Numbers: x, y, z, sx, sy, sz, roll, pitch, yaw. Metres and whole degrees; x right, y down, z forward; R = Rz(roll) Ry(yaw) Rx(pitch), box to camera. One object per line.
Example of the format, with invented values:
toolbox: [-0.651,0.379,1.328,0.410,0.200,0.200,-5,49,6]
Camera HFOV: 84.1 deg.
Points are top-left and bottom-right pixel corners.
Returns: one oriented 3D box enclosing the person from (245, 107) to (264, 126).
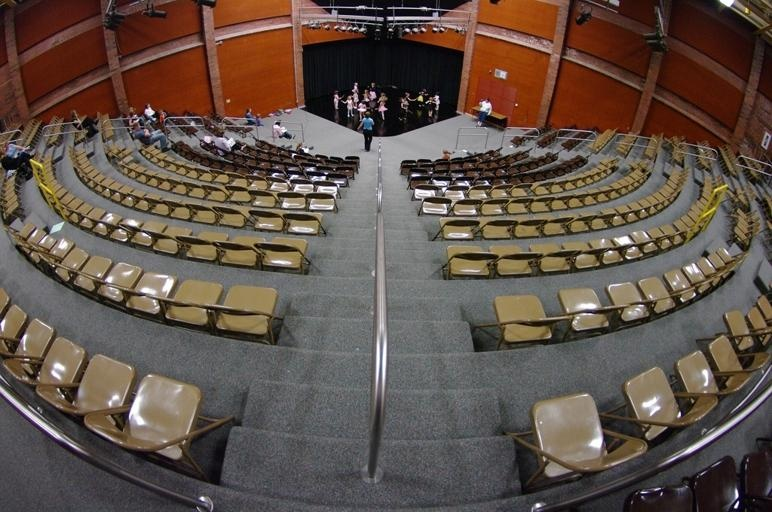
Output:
person: [-6.501,-6.869,21.062,0.767,0.604,1.245,-20,-5,-13]

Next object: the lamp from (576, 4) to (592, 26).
lamp: [8.398,-10.097,17.949,0.605,0.727,1.264,12,35,18]
